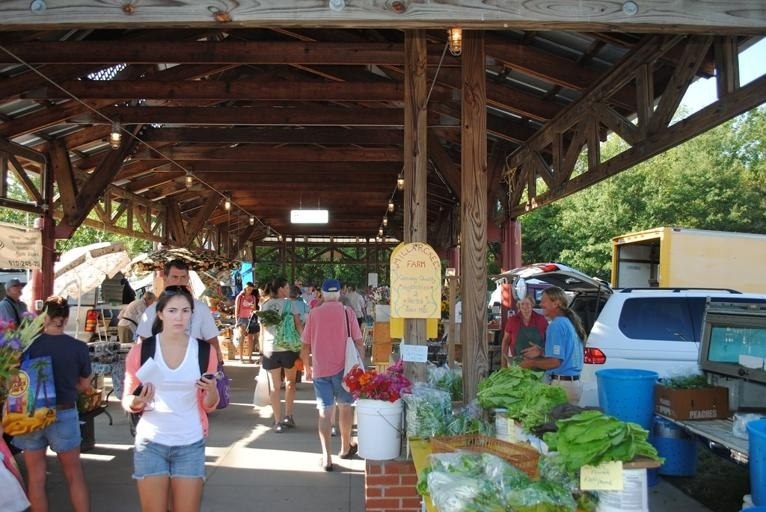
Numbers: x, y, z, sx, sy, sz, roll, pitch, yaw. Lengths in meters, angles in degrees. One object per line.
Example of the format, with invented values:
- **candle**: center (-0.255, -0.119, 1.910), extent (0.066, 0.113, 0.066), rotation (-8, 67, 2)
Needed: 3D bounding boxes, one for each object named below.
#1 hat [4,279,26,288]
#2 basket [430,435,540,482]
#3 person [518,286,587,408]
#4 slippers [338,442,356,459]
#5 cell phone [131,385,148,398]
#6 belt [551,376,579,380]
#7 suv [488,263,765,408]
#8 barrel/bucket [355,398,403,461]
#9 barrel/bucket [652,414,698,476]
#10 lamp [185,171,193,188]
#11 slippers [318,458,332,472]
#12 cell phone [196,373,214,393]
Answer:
- **hat**: center (-6.020, 0.456, 10.706), extent (0.259, 0.131, 0.188), rotation (-4, 0, -19)
- **basket**: center (1.013, 1.802, 5.989), extent (1.135, 0.237, 0.560), rotation (-4, -7, 43)
- **person**: center (2.076, 1.074, 7.962), extent (0.662, 1.390, 0.847), rotation (-1, -5, 19)
- **slippers**: center (-0.463, 2.585, 8.715), extent (0.110, 0.127, 0.331), rotation (0, 4, 22)
- **cell phone**: center (-2.220, 1.230, 5.983), extent (0.103, 0.115, 0.116), rotation (3, -11, -11)
- **belt**: center (2.159, 1.434, 7.753), extent (0.310, 0.059, 0.098), rotation (1, -5, -4)
- **suv**: center (2.572, 0.979, 9.632), extent (4.677, 2.198, 1.658), rotation (2, -8, -4)
- **barrel/bucket**: center (-0.103, 1.849, 7.073), extent (0.590, 0.576, 0.580), rotation (0, -6, 0)
- **barrel/bucket**: center (3.655, 2.385, 8.172), extent (0.414, 0.768, 0.595), rotation (-3, -6, 34)
- **lamp**: center (-4.685, -1.893, 15.874), extent (0.121, 0.339, 0.554), rotation (2, -5, -20)
- **slippers**: center (-0.723, 2.641, 8.290), extent (0.172, 0.112, 0.323), rotation (1, 0, -7)
- **cell phone**: center (-1.619, 1.145, 6.013), extent (0.153, 0.141, 0.055), rotation (2, -5, -15)
